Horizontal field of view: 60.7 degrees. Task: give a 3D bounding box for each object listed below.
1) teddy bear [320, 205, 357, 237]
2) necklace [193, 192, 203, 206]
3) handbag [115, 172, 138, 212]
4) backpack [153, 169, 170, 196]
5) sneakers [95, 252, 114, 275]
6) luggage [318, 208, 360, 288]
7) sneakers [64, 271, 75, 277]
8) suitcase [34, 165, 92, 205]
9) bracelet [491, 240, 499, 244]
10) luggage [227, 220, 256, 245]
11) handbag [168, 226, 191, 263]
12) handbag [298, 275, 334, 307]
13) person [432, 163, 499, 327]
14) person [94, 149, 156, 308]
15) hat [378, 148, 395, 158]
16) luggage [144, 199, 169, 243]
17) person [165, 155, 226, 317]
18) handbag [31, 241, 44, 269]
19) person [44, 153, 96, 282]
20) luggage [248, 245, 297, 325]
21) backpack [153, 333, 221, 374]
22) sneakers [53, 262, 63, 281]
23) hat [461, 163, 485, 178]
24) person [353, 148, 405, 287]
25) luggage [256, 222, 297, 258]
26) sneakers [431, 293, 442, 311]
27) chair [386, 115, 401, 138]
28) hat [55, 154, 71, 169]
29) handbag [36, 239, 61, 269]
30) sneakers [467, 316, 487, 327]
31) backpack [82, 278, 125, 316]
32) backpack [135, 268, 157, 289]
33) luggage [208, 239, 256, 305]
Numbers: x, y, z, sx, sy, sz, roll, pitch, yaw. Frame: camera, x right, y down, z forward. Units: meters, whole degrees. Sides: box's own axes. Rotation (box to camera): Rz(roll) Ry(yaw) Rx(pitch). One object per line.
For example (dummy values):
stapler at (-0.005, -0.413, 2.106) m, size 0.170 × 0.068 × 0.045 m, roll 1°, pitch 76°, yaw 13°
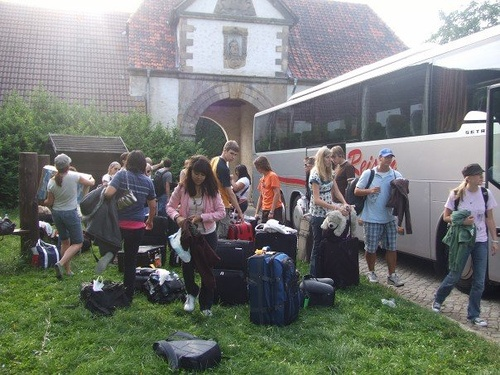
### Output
teddy bear at (1.689, 0.591, 7.685) m, size 0.687 × 0.494 × 0.396 m, roll -19°, pitch 20°, yaw -35°
necklace at (-0.745, 0.167, 6.197) m, size 0.119 × 0.192 × 0.056 m, roll -1°, pitch -3°, yaw -1°
handbag at (-1.849, 0.047, 6.462) m, size 0.241 × 0.569 × 0.240 m, roll 4°, pitch 6°, yaw 21°
backpack at (-2.322, -0.126, 11.101) m, size 0.510 × 0.587 × 0.374 m, roll 2°, pitch 4°, yaw -17°
sneakers at (-2.159, 1.100, 6.347) m, size 0.147 × 0.388 × 0.153 m, roll 38°, pitch -10°, yaw 14°
luggage at (1.663, 0.971, 7.917) m, size 0.705 × 1.622 × 0.864 m, roll -3°, pitch 19°, yaw 1°
sneakers at (-3.380, 1.602, 8.013) m, size 0.132 × 0.105 × 0.072 m, roll -1°, pitch 6°, yaw -14°
suitcase at (-3.698, -0.048, 8.339) m, size 0.739 × 0.756 × 0.308 m, roll 9°, pitch -4°, yaw 9°
bracelet at (3.704, 0.810, 6.419) m, size 0.117 × 0.049 × 0.125 m, roll 1°, pitch -1°, yaw -17°
luggage at (-0.156, 0.868, 8.465) m, size 0.551 × 0.604 × 0.322 m, roll 2°, pitch -9°, yaw -16°
handbag at (-0.970, 0.805, 5.998) m, size 0.164 × 0.464 × 0.315 m, roll -10°, pitch 1°, yaw 6°
handbag at (1.090, 1.646, 6.925) m, size 0.604 × 0.428 × 0.475 m, roll 1°, pitch 6°, yaw -8°
person at (3.341, 0.838, 6.475) m, size 0.826 × 2.393 × 0.757 m, roll 0°, pitch 6°, yaw -14°
person at (-1.916, 0.491, 6.795) m, size 0.695 × 2.315 × 0.684 m, roll 13°, pitch 10°, yaw -1°
hat at (2.503, -0.635, 7.925) m, size 0.178 × 0.141 × 0.260 m, roll 1°, pitch 0°, yaw -8°
luggage at (-2.004, 0.903, 9.220) m, size 0.497 × 0.794 × 0.526 m, roll 1°, pitch -3°, yaw -13°
person at (-0.781, 0.692, 6.239) m, size 0.805 × 2.320 × 0.703 m, roll 1°, pitch 6°, yaw -4°
handbag at (-4.304, 1.369, 8.628) m, size 0.178 × 0.529 × 0.374 m, roll -2°, pitch -6°, yaw 1°
person at (-3.396, 0.502, 7.888) m, size 0.753 × 2.197 × 0.685 m, roll 4°, pitch 7°, yaw 24°
luggage at (0.399, 1.427, 6.567) m, size 0.741 × 1.291 × 0.949 m, roll -1°, pitch 0°, yaw 20°
backpack at (-0.714, 1.883, 4.896) m, size 0.393 × 0.185 × 0.421 m, roll 2°, pitch 4°, yaw 22°
sneakers at (-3.442, 1.500, 7.702) m, size 0.103 × 0.332 × 0.137 m, roll -7°, pitch -2°, yaw 29°
hat at (3.336, -0.263, 6.387) m, size 0.221 × 0.132 × 0.180 m, roll -15°, pitch 1°, yaw 23°
person at (2.447, 0.578, 8.063) m, size 0.923 × 2.604 × 0.468 m, roll 2°, pitch 6°, yaw 9°
luggage at (0.468, 0.938, 7.526) m, size 0.552 × 0.613 × 0.228 m, roll 1°, pitch 0°, yaw 6°
sneakers at (2.979, 1.874, 6.781) m, size 0.116 × 0.398 × 0.153 m, roll 2°, pitch -28°, yaw 20°
chair at (3.325, -1.394, 9.756) m, size 0.150 × 0.454 × 0.318 m, roll 10°, pitch 1°, yaw -20°
hat at (-3.439, -0.517, 7.891) m, size 0.208 × 0.308 × 0.164 m, roll 7°, pitch -34°, yaw -8°
handbag at (-4.123, 1.366, 8.707) m, size 0.206 × 0.498 × 0.551 m, roll -31°, pitch -2°, yaw 4°
sneakers at (3.394, 1.971, 6.363) m, size 0.101 × 0.113 × 0.283 m, roll -1°, pitch -6°, yaw -15°
backpack at (-2.243, 1.604, 6.361) m, size 0.723 × 0.386 × 0.484 m, roll 4°, pitch 7°, yaw 24°
backpack at (-1.734, 1.519, 7.117) m, size 0.242 × 0.355 × 0.120 m, roll 4°, pitch -19°, yaw -11°
luggage at (-0.365, 1.522, 6.967) m, size 0.744 × 1.292 × 0.637 m, roll -1°, pitch -18°, yaw 9°
